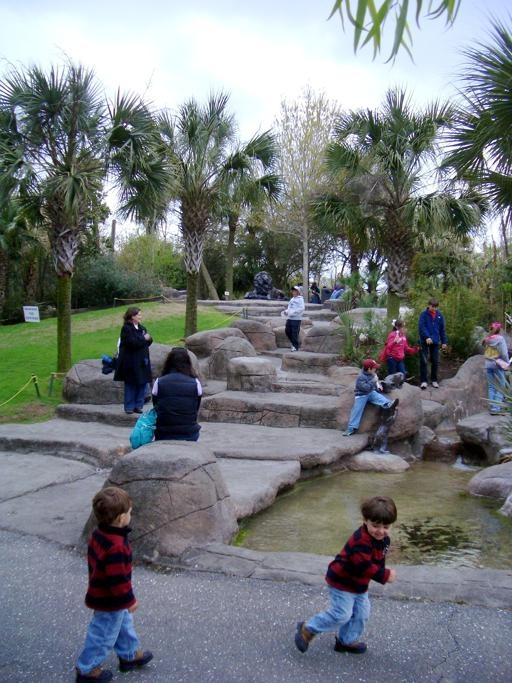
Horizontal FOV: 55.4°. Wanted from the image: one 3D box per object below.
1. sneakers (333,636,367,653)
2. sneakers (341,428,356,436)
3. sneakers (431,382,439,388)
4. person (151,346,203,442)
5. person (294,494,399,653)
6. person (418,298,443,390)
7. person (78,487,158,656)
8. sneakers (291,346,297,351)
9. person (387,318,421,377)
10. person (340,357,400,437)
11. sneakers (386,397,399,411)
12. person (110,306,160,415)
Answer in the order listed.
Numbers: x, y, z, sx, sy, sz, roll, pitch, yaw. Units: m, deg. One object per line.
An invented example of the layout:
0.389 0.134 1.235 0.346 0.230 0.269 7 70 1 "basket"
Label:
0.459 1.507 2.416 0.160 0.072 0.061 -3 5 1 "sneakers"
1.531 1.498 8.109 0.281 0.132 0.089 -5 12 -28 "sneakers"
3.801 0.919 10.447 0.102 0.093 0.216 -3 -7 6 "sneakers"
-0.751 0.519 4.685 0.427 0.918 0.396 -2 2 -40 "person"
0.432 1.153 2.433 0.488 0.848 0.388 -1 1 15 "person"
3.751 0.079 10.492 0.481 1.866 1.353 0 1 19 "person"
-0.635 1.097 2.205 0.286 0.870 0.336 -1 1 -6 "person"
1.136 0.203 14.778 0.124 0.163 0.351 3 -5 4 "sneakers"
2.948 0.120 10.315 0.556 1.152 0.476 -2 2 -39 "person"
1.924 0.876 8.162 0.901 1.222 0.625 1 17 -7 "person"
2.242 1.063 8.057 0.094 0.309 0.123 31 -20 -15 "sneakers"
-2.146 0.368 8.455 0.631 1.890 1.060 -1 1 -14 "person"
